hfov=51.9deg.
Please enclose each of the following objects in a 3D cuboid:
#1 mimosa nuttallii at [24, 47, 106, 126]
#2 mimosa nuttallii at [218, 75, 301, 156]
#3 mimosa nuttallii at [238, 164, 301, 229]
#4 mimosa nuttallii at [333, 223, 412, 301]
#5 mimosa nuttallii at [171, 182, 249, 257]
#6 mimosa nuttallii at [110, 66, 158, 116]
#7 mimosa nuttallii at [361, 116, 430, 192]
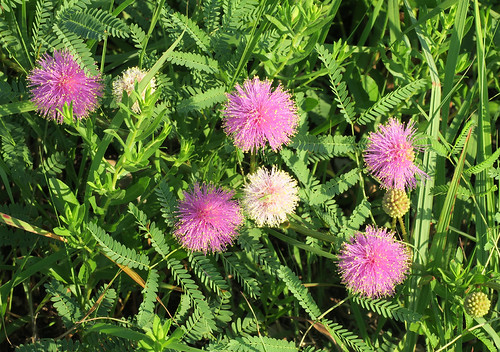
[{"bbox_3d":[-1.048,-0.603,2.916,0.317,0.373,0.233,-6,90,10],"label":"mimosa nuttallii"},{"bbox_3d":[0.047,-0.450,2.956,0.336,0.336,0.231,-21,106,-38],"label":"mimosa nuttallii"},{"bbox_3d":[0.110,0.112,2.860,0.284,0.197,0.367,-24,93,-5],"label":"mimosa nuttallii"},{"bbox_3d":[0.709,0.432,3.005,0.322,0.356,0.238,1,76,33],"label":"mimosa nuttallii"},{"bbox_3d":[-0.232,0.241,2.907,0.377,0.316,0.376,15,53,-3],"label":"mimosa nuttallii"},{"bbox_3d":[-0.636,-0.468,2.832,0.192,0.230,0.221,17,52,17],"label":"mimosa nuttallii"},{"bbox_3d":[0.885,-0.185,3.076,0.427,0.442,0.340,-10,84,31],"label":"mimosa nuttallii"}]
